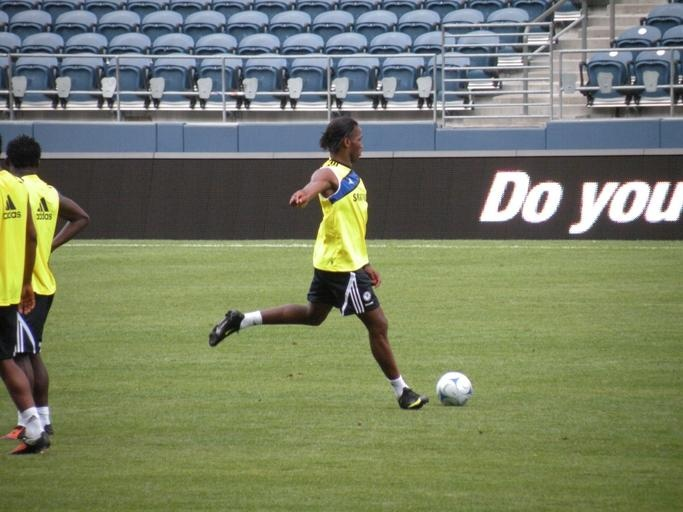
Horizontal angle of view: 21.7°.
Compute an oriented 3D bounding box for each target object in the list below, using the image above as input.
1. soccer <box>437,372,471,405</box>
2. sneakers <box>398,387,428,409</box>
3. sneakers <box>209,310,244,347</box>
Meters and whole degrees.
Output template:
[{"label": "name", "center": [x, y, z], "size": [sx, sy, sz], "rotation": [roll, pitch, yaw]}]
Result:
[{"label": "soccer", "center": [1.749, 2.101, 27.866], "size": [0.536, 0.492, 0.518], "rotation": [8, -29, 4]}, {"label": "sneakers", "center": [1.149, 2.245, 27.670], "size": [0.520, 0.259, 0.255], "rotation": [-12, 6, 41]}, {"label": "sneakers", "center": [-1.823, 1.138, 28.176], "size": [0.654, 0.257, 0.234], "rotation": [-24, 4, 3]}]
